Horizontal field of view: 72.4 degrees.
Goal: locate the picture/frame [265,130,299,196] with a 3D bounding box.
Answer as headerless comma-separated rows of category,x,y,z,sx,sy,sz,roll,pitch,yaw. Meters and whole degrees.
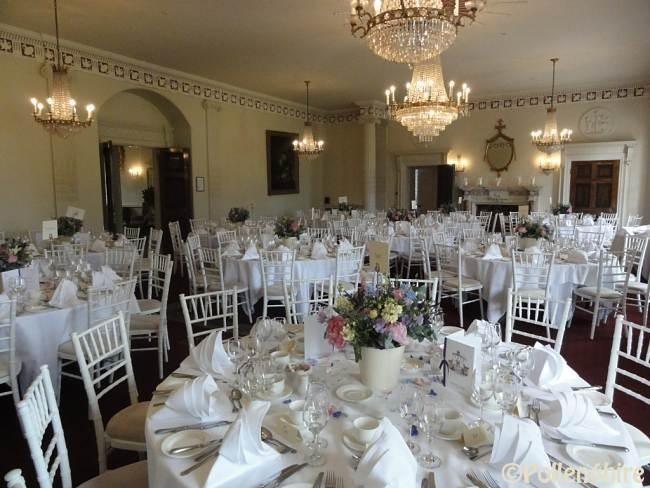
picture/frame,-1.370,-2.538,13.767,0.141,2.392,1.879,1,3,23

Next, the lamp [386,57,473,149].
lamp,1.682,-2.489,7.382,1.201,1.246,0.751,2,10,10

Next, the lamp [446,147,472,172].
lamp,4.120,-2.550,13.674,0.718,0.635,0.186,3,10,15

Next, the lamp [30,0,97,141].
lamp,-4.435,-2.796,7.403,1.044,1.978,2.953,-4,11,-27
